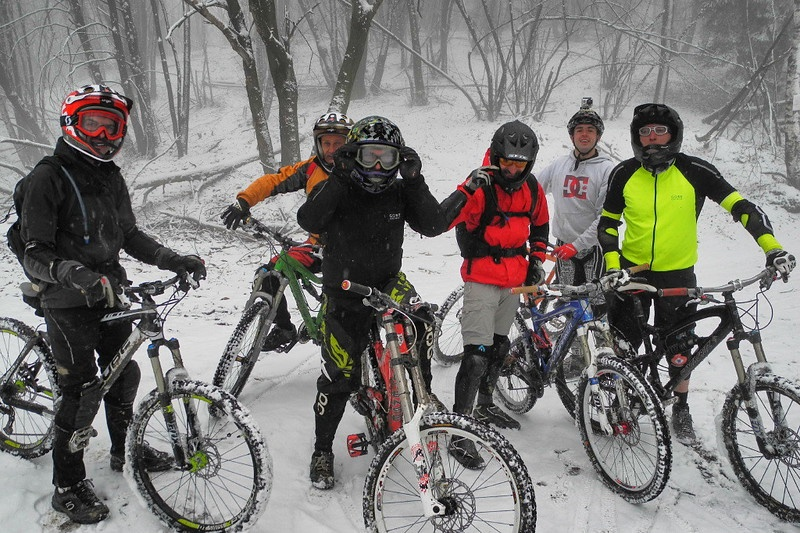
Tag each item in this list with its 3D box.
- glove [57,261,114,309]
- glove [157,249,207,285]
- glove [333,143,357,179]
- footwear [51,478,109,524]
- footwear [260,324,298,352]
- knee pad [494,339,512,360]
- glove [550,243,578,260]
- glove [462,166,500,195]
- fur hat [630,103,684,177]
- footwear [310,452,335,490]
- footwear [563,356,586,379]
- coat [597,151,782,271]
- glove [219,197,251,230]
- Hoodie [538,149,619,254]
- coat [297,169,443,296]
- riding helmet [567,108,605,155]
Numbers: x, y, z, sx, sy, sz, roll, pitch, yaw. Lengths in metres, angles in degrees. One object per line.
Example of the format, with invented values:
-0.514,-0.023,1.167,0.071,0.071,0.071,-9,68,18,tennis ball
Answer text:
-3.366,0.185,7.308,0.637,0.390,0.250,37,-28,-23,glove
-2.715,-0.057,7.984,0.952,0.385,0.219,11,-2,42,glove
-0.583,-1.145,7.329,0.253,0.354,0.132,3,11,-27,glove
-3.586,2.605,7.700,0.744,0.376,0.318,16,18,16,footwear
-1.604,0.964,9.204,0.510,0.270,0.243,-5,7,-39,footwear
1.296,1.017,8.492,0.196,0.263,0.158,3,-5,-9,knee pad
2.113,-0.193,8.644,0.278,0.227,0.091,1,36,-3,glove
0.977,-1.021,8.011,0.423,0.325,0.296,1,20,-4,glove
3.288,-1.705,8.476,0.592,0.725,0.836,5,17,32,fur hat
-0.910,2.385,7.958,0.232,0.194,0.461,2,52,-17,footwear
2.406,1.373,9.302,0.351,0.362,0.084,6,10,6,footwear
3.555,-0.698,8.386,2.277,1.701,1.411,4,10,44,coat
-2.099,-0.632,8.612,0.302,0.425,0.360,10,22,20,glove
2.471,-0.867,9.248,0.481,1.107,1.322,-8,21,-43,Hoodie
-0.346,-0.436,7.925,1.771,1.717,1.066,2,9,-12,coat
2.558,-1.866,9.507,0.473,0.620,0.584,2,55,10,riding helmet
